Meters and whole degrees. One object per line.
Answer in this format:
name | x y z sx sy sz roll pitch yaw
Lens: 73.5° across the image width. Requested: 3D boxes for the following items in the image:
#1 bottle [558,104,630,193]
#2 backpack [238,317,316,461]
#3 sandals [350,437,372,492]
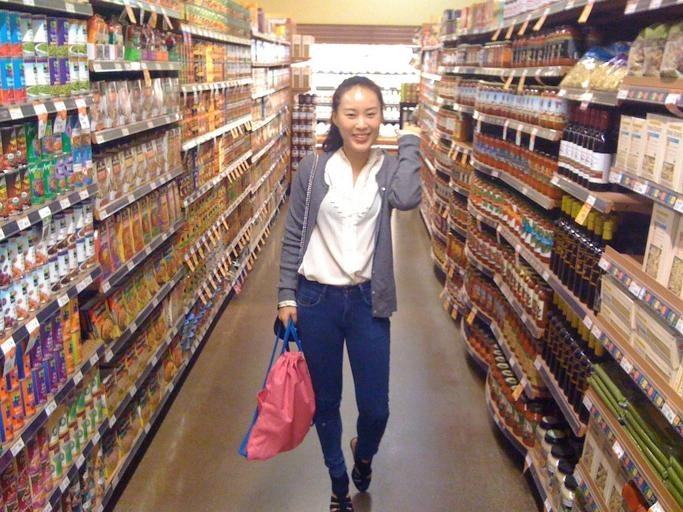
bottle | 1.346 -0.566 2.416 0.148 0.580 0.402 -5 21 -12
backpack | -0.325 0.710 2.354 0.448 0.688 0.288 -12 24 -31
sandals | 0.130 1.386 2.913 0.118 0.423 0.161 -1 -12 -5
